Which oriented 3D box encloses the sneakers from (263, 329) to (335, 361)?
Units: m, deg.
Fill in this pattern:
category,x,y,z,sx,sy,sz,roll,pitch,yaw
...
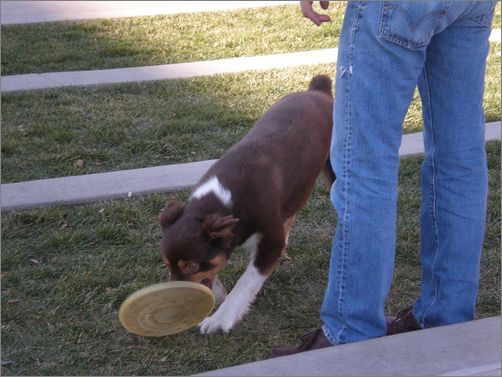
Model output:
category,x,y,z,sx,sy,sz,roll,pitch,yaw
sneakers,0.314,0.918,2.956,0.499,0.176,0.163,-6,6,33
